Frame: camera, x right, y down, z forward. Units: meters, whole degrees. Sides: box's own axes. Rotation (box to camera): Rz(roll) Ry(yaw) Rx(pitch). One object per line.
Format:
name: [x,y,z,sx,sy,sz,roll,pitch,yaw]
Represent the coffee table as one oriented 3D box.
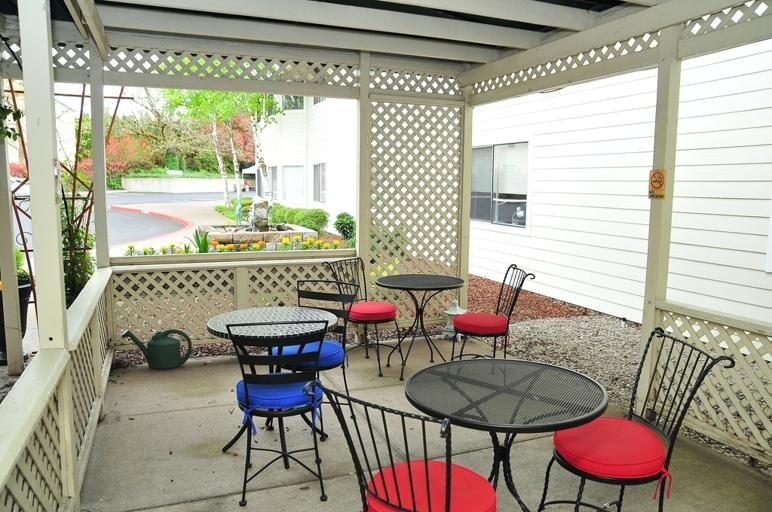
coffee table: [-0.908,0.933,4.207,1.085,0.978,1.087,0,5,-3]
